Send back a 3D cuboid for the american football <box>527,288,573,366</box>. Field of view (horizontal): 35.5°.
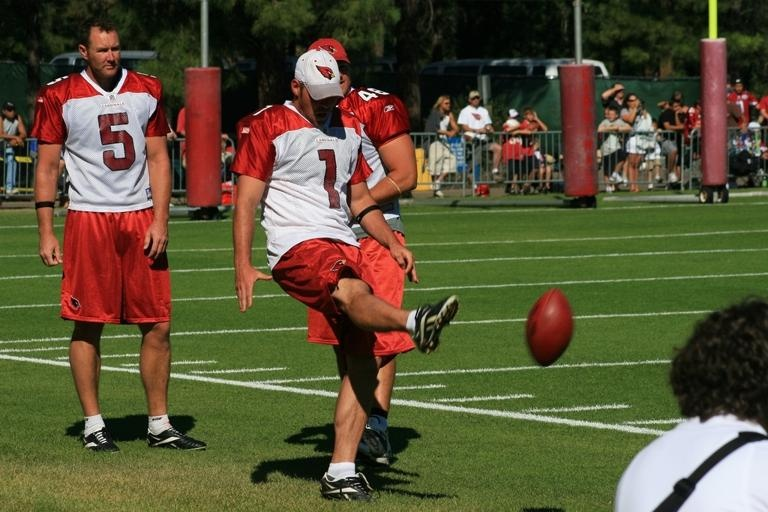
[{"bbox_3d":[1.052,0.463,7.739,0.285,0.470,0.300,32,-13,1],"label":"american football"}]

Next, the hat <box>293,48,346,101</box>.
[{"bbox_3d":[-0.452,-1.249,8.294,0.262,0.346,0.304,-5,10,-25],"label":"hat"}]

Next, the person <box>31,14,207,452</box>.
[{"bbox_3d":[-2.116,-0.121,9.355,1.144,3.179,1.331,-1,1,-37],"label":"person"}]

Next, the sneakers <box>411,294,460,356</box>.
[{"bbox_3d":[0.342,0.442,7.628,0.220,0.382,0.291,7,12,41],"label":"sneakers"}]
